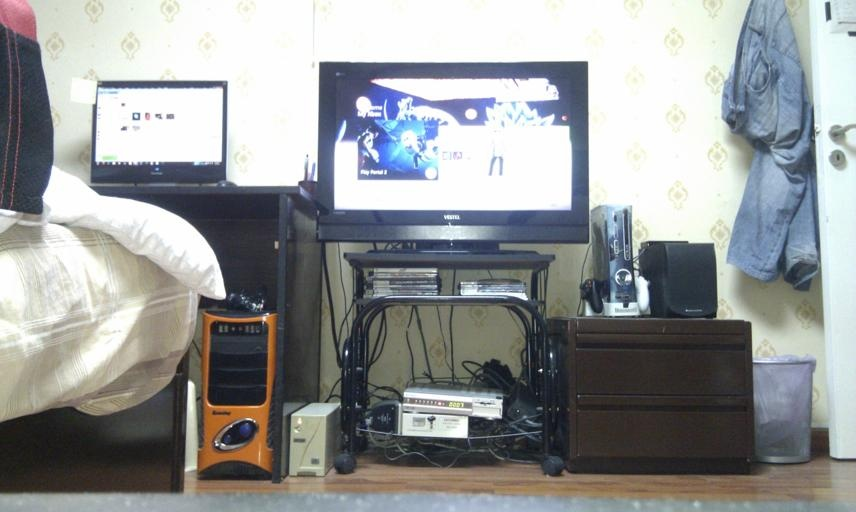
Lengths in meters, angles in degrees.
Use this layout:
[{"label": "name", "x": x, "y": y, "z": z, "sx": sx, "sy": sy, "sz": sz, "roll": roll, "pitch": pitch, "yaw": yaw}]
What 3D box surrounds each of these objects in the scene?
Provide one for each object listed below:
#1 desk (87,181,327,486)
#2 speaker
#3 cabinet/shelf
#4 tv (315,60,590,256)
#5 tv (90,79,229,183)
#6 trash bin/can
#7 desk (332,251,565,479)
[{"label": "desk", "x": -1.011, "y": 0.400, "z": 3.894, "sx": 1.025, "sy": 1.393, "sz": 1.275, "roll": -11, "pitch": 12, "yaw": -15}, {"label": "speaker", "x": 1.297, "y": 0.135, "z": 3.955, "sx": 0.305, "sy": 0.392, "sz": 0.328, "roll": 0, "pitch": -5, "yaw": -7}, {"label": "cabinet/shelf", "x": 1.112, "y": 0.567, "z": 3.936, "sx": 1.069, "sy": 0.789, "sz": 0.734, "roll": 0, "pitch": -9, "yaw": 1}, {"label": "tv", "x": 0.137, "y": -0.525, "z": 3.984, "sx": 1.059, "sy": 0.698, "sz": 0.109, "roll": 0, "pitch": -5, "yaw": 1}, {"label": "tv", "x": -1.470, "y": -0.694, "z": 4.141, "sx": 0.578, "sy": 0.408, "sz": 0.061, "roll": 1, "pitch": -4, "yaw": 1}, {"label": "trash bin/can", "x": 1.828, "y": 0.802, "z": 3.974, "sx": 0.402, "sy": 0.498, "sz": 0.337, "roll": -3, "pitch": -7, "yaw": 22}, {"label": "desk", "x": 0.147, "y": 0.547, "z": 4.164, "sx": 1.271, "sy": 1.136, "sz": 1.020, "roll": 0, "pitch": -10, "yaw": 0}]
